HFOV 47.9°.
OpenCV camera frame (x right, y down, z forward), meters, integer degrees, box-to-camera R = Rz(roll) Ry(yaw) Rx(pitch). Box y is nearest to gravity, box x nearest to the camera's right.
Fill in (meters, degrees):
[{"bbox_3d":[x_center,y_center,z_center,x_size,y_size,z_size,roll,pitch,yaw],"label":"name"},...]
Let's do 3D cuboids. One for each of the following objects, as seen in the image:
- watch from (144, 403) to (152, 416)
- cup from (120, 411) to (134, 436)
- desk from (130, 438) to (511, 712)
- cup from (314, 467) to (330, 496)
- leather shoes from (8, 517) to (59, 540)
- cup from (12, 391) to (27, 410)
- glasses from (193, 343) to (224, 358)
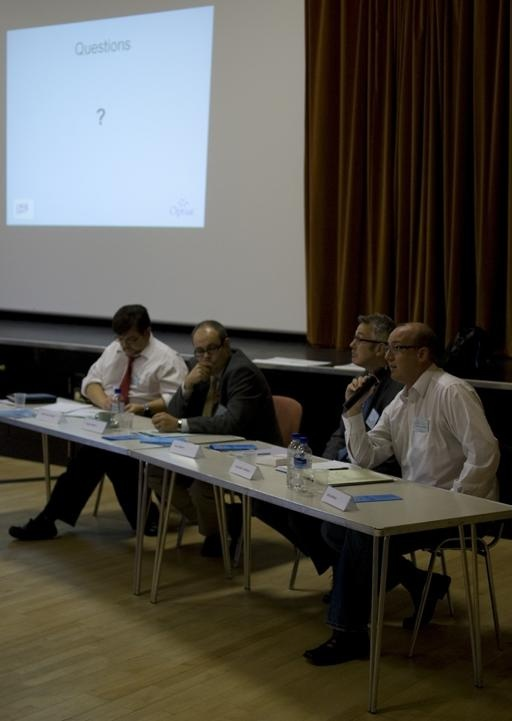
[{"bbox_3d":[-0.577,0.266,3.057,0.040,0.047,0.052,1,-9,-12],"label":"watch"},{"bbox_3d":[-0.532,0.268,2.401,0.067,0.076,0.073,0,3,0],"label":"cup"},{"bbox_3d":[0.145,0.583,1.892,0.890,0.563,1.524,5,-6,-36],"label":"desk"},{"bbox_3d":[0.168,0.321,1.506,0.038,0.058,0.048,0,1,14],"label":"cup"},{"bbox_3d":[-1.074,0.809,2.830,0.244,0.103,0.094,5,1,-25],"label":"leather shoes"},{"bbox_3d":[-1.149,0.210,2.825,0.064,0.070,0.064,0,-3,0],"label":"cup"},{"bbox_3d":[-0.218,-0.041,2.512,0.123,0.062,0.082,0,-5,12],"label":"glasses"}]
